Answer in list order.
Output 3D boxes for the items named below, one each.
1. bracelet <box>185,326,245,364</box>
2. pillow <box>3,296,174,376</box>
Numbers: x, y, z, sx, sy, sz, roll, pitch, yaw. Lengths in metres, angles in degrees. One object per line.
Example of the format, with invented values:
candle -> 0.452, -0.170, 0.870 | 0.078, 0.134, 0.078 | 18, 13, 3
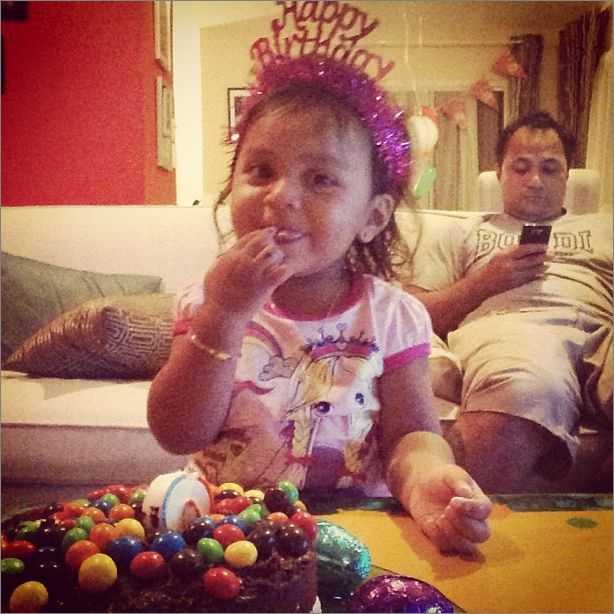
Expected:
bracelet -> -0.090, 0.037, 0.761 | 0.047, 0.010, 0.038 | 14, 17, -18
pillow -> -0.354, 0.060, 1.227 | 0.218, 0.081, 0.220 | -7, 5, 45
